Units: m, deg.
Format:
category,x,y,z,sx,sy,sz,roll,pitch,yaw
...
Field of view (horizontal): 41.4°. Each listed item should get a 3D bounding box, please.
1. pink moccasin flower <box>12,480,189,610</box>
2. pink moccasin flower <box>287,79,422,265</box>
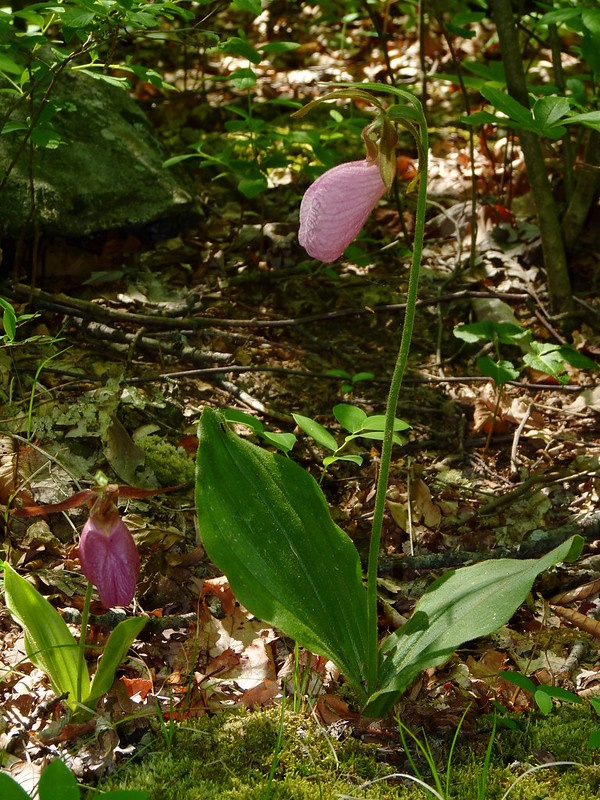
category,x,y,z,sx,sy,sz,roll,pitch,yaw
pink moccasin flower,-0.490,0.337,1.827,0.303,0.290,0.150,2,0,-13
pink moccasin flower,0.150,-0.542,1.940,0.348,0.448,0.197,10,30,12
